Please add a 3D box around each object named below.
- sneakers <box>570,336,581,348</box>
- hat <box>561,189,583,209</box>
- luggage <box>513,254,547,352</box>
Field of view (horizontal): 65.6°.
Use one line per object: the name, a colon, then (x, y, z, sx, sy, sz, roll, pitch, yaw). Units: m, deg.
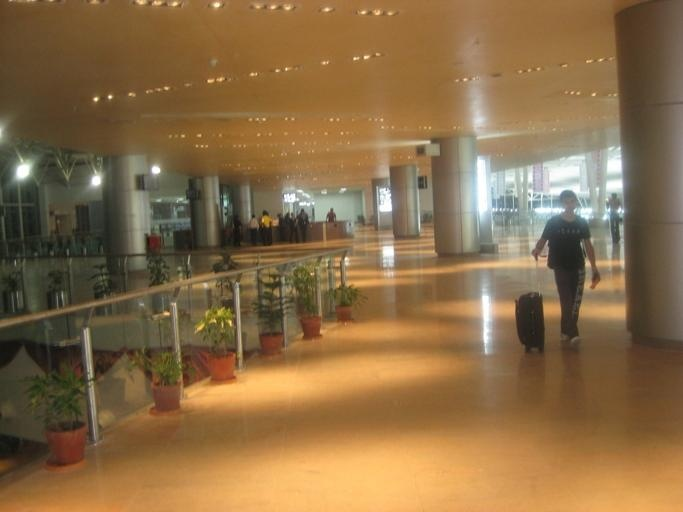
sneakers: (2.686, 0.983, 6.087, 0.068, 0.075, 0.160, -1, -29, 2)
hat: (2.630, -0.651, 6.117, 0.171, 0.241, 0.229, -5, -2, 9)
luggage: (2.124, 0.737, 5.982, 0.285, 0.666, 0.281, -2, 4, 17)
